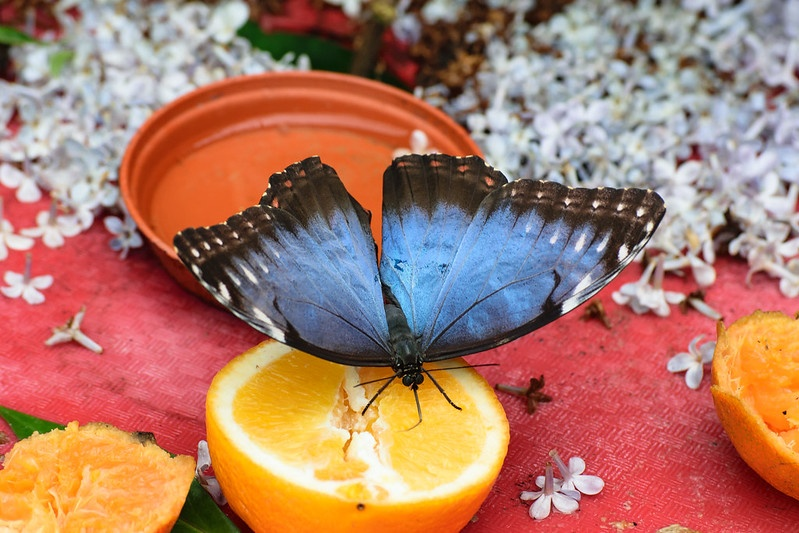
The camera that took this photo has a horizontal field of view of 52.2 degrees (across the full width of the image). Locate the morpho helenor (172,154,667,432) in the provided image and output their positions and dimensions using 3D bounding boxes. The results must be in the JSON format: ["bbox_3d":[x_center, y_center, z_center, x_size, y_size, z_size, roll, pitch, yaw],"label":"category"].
[{"bbox_3d":[0.027,0.022,1.446,0.854,0.227,0.482,-4,81,2],"label":"morpho helenor"}]
